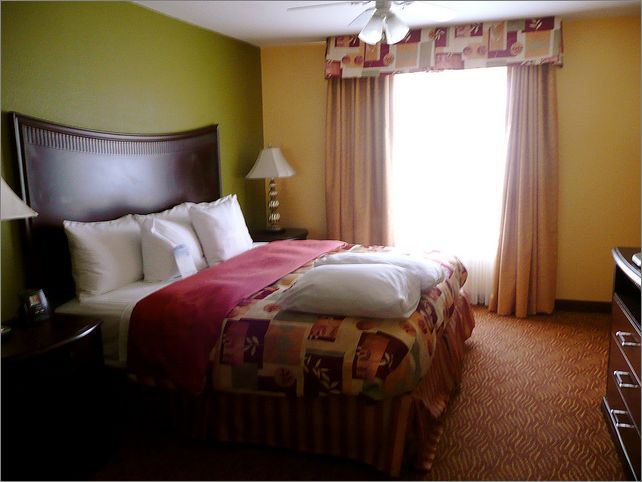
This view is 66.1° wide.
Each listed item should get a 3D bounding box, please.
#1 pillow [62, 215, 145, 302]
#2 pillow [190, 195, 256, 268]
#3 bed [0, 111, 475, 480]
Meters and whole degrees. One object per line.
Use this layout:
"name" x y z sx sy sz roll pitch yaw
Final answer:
"pillow" -1.461 0.113 3.584 0.282 0.562 0.652 0 9 41
"pillow" -0.841 -0.084 4.075 0.160 0.523 0.565 -18 5 30
"bed" -0.553 0.256 3.519 2.629 1.848 2.318 0 21 7
